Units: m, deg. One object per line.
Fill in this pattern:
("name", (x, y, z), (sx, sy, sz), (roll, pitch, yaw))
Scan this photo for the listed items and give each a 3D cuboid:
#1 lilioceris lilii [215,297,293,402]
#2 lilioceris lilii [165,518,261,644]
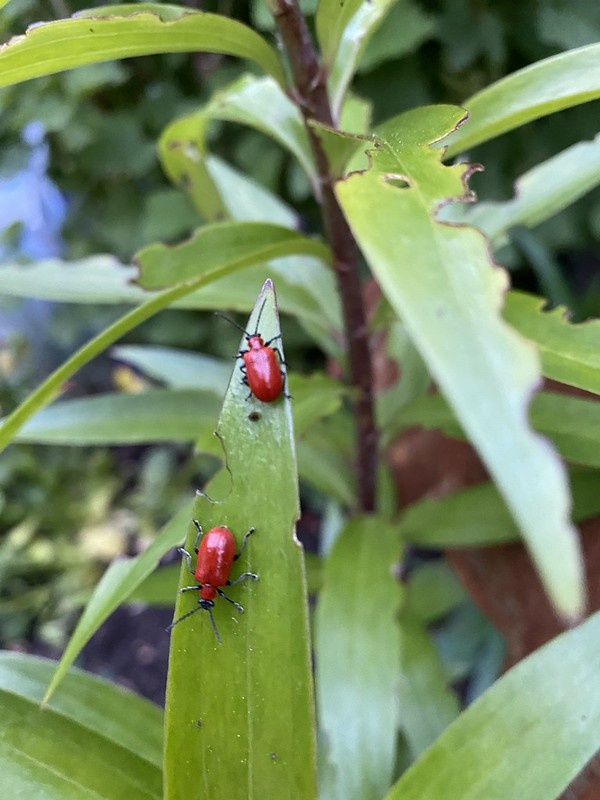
("lilioceris lilii", (-0.041, -0.044, 0.737), (0.062, 0.019, 0.088), (-3, -38, 19))
("lilioceris lilii", (-0.064, 0.146, 0.706), (0.088, 0.089, 0.029), (15, 6, 19))
